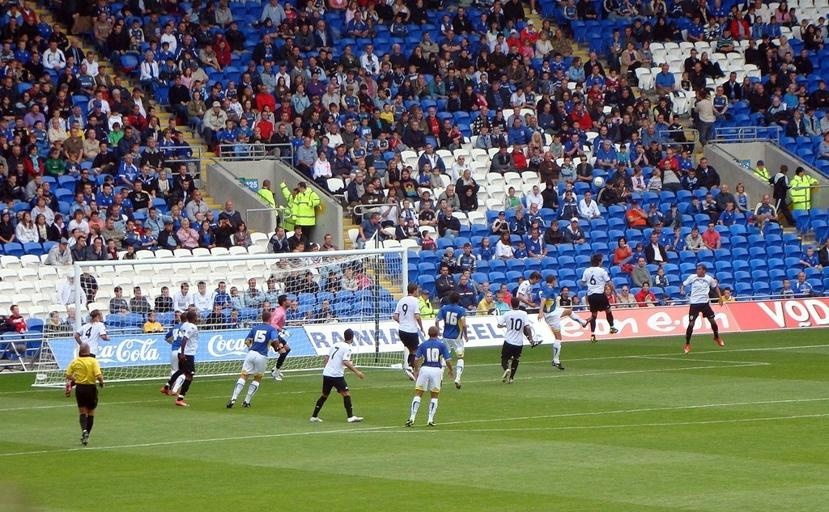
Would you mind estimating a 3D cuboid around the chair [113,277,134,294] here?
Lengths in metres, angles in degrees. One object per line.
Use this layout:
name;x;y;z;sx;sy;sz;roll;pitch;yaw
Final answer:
chair;-9.367;0.942;42.954;0.564;0.700;0.591;1;-4;-17

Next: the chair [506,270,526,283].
chair;3.633;0.738;48.115;0.504;0.396;0.428;-4;3;-4

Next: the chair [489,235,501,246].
chair;2.950;-0.604;49.074;0.402;0.354;0.314;24;6;26

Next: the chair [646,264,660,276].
chair;8.903;0.495;49.709;0.318;0.362;0.412;1;-10;0

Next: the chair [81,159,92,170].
chair;-11.712;-3.255;47.515;0.360;0.363;0.328;1;-13;-4

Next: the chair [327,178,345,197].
chair;-2.908;-2.577;49.693;0.666;0.612;0.816;-2;11;-28

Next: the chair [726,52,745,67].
chair;14.144;-8.611;58.807;0.830;0.819;0.664;-5;5;-39

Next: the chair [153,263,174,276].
chair;-8.313;0.408;44.092;0.396;0.492;0.410;2;-13;-9

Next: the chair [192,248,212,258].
chair;-7.290;-0.153;45.565;0.465;0.554;0.467;1;-3;-18

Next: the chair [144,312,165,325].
chair;-8.239;1.993;42.216;0.424;0.490;0.331;4;-27;-27

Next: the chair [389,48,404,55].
chair;-0.674;-8.345;53.973;0.554;0.407;0.411;-1;4;-13

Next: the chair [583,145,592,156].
chair;7.021;-4.289;53.743;0.445;0.538;0.416;1;-8;4

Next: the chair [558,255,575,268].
chair;5.656;0.203;49.508;0.524;0.436;0.439;0;5;5

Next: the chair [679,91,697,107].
chair;11.642;-6.747;56.893;0.657;0.797;0.656;0;4;8

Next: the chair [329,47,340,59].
chair;-3.239;-8.247;54.119;0.409;0.504;0.428;1;1;2

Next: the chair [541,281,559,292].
chair;4.599;1.013;45.337;0.467;0.457;0.529;3;-7;-36

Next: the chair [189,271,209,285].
chair;-7.200;0.704;44.456;0.466;0.566;0.479;2;-7;-21

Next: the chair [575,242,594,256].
chair;6.371;-0.245;50.151;0.467;0.537;0.511;4;-2;-37

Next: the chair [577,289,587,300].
chair;6.072;1.397;48.235;0.290;0.342;0.323;2;-4;10

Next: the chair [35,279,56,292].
chair;-12.240;0.972;44.009;0.428;0.531;0.449;0;2;-32

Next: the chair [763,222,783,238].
chair;14.278;-1.037;52.767;0.595;0.741;0.624;1;13;4

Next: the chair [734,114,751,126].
chair;14.049;-5.809;56.831;0.550;0.471;0.536;2;1;-22

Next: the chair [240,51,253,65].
chair;-6.766;-7.886;52.939;0.438;0.528;0.566;-2;5;-5

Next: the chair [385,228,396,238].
chair;-0.872;-0.859;48.289;0.357;0.259;0.353;2;3;13

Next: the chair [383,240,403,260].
chair;-0.808;-0.244;47.822;0.705;0.864;0.700;0;-8;-9

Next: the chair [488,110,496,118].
chair;3.121;-5.790;53.849;0.268;0.231;0.358;-3;1;3

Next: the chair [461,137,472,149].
chair;2.086;-4.509;52.826;0.454;0.547;0.442;0;4;-8

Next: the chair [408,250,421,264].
chair;-0.020;0.014;48.010;0.465;0.489;0.410;-1;-2;-15

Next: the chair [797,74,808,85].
chair;17.024;-7.740;58.317;0.566;0.480;0.441;-2;4;7

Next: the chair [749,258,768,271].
chair;13.369;0.313;51.751;0.700;0.336;0.181;-4;1;-26

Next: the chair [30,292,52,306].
chair;-12.343;1.415;43.928;0.503;0.603;0.505;1;-3;-30

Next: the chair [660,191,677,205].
chair;10.064;-2.311;52.776;0.525;0.547;0.528;7;7;28

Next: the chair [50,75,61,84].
chair;-13.327;-6.542;49.217;0.289;0.295;0.820;-4;1;-16

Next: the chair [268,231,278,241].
chair;-5.133;-0.753;47.627;0.280;0.403;0.288;1;-1;-4

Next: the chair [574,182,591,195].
chair;6.591;-2.686;52.578;0.507;0.631;0.548;-5;14;-8

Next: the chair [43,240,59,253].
chair;-12.141;-0.323;44.549;0.506;0.607;0.512;1;-14;-6

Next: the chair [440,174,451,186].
chair;1.180;-2.944;51.198;0.395;0.374;0.476;-1;-14;5

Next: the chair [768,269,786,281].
chair;14.074;0.717;51.566;0.439;0.315;0.432;-4;6;-44

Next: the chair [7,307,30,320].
chair;-12.751;1.838;42.954;0.422;0.447;0.512;1;-7;-23

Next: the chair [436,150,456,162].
chair;1.181;-3.880;51.898;0.738;0.441;0.349;-4;1;-40

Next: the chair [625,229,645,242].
chair;8.456;-0.802;51.169;0.545;0.564;0.550;1;6;0

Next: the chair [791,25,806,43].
chair;17.283;-10.059;60.023;0.710;0.905;0.765;3;5;16

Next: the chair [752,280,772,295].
chair;13.356;1.212;51.102;0.446;0.572;0.510;0;13;30

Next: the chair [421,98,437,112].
chair;0.615;-6.118;53.448;0.632;0.559;0.503;-3;2;-40

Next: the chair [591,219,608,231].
chair;7.139;-1.226;51.237;0.536;0.555;0.468;-1;10;-17

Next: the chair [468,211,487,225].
chair;2.379;-1.450;50.218;0.528;0.653;0.531;-1;3;-10

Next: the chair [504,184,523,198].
chair;3.888;-2.532;51.489;0.465;0.579;0.583;2;-19;-3

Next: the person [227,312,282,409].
person;-4.504;2.953;38.004;1.125;2.889;0.999;12;-6;-5

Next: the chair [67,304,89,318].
chair;-10.524;1.650;41.433;0.552;0.511;0.476;1;-9;-8

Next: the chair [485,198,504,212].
chair;3.084;-1.980;51.152;0.531;0.639;0.595;-2;3;-6
